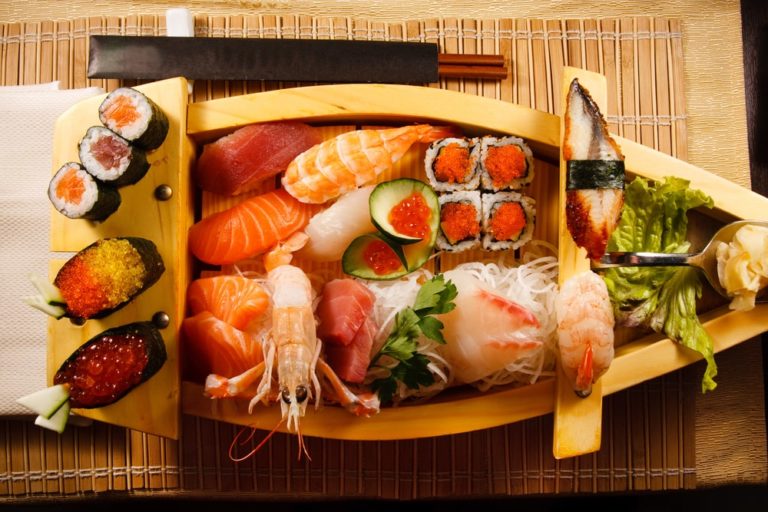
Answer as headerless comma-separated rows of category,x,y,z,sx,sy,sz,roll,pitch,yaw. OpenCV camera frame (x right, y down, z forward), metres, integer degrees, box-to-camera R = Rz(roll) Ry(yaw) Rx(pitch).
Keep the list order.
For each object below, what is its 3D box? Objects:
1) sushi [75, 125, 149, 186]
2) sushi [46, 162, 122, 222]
sushi,-1.118,-0.410,3.552,0.170,0.088,0.247,-14,70,-3
sushi,-1.209,-0.243,3.513,0.246,0.130,0.181,22,63,12
